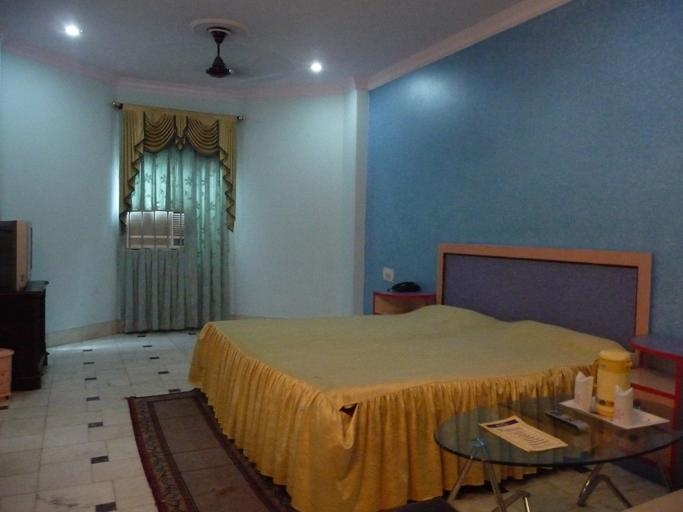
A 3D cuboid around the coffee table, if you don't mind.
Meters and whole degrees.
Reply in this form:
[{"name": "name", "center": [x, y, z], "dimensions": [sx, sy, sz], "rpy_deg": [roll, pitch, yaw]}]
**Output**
[{"name": "coffee table", "center": [0.974, 0.793, 2.398], "dimensions": [1.123, 0.094, 0.538], "rpy_deg": [-1, 8, -12]}]
